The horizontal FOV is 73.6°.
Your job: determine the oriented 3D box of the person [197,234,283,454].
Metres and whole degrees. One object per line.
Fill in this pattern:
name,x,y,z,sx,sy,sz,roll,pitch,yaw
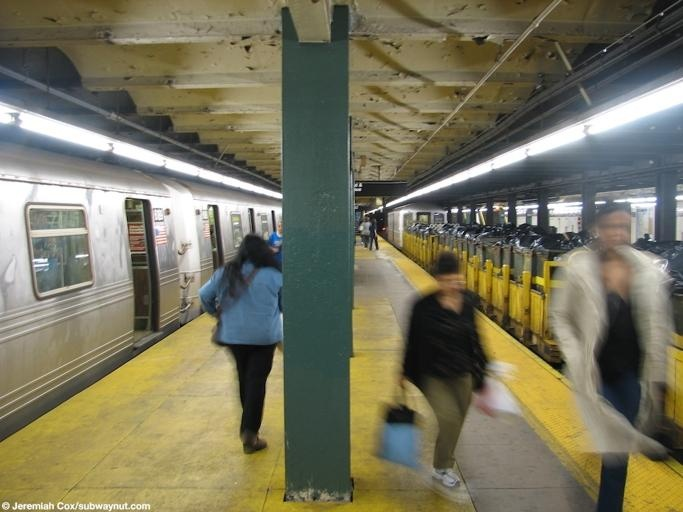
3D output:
person,-0.986,0.886,4.703,0.775,2.212,0.518,-2,11,-10

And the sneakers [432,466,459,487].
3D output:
sneakers,0.951,2.028,4.253,0.233,0.147,0.131,11,7,27

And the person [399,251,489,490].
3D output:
person,0.919,1.027,4.110,0.774,2.128,0.336,1,11,10
